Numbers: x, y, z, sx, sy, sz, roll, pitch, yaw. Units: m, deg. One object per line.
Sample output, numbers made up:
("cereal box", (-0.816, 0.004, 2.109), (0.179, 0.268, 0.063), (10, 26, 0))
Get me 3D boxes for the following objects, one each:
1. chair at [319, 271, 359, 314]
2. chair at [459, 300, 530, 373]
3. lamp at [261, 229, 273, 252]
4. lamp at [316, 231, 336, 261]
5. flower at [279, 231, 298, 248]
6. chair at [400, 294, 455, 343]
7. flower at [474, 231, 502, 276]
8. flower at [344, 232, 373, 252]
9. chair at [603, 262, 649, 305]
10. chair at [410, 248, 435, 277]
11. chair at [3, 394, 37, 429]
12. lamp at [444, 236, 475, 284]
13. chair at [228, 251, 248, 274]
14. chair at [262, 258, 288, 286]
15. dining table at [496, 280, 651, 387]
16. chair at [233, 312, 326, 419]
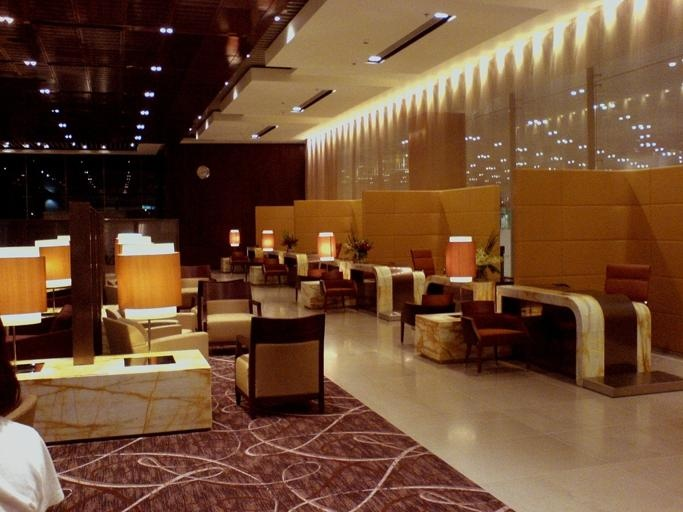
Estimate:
("chair", (-0.106, 0.853, 12.024), (0.756, 1.019, 0.853), (0, -2, -13))
("chair", (2.082, 1.148, 7.411), (0.848, 1.108, 0.924), (0, -2, -18))
("lamp", (-2.598, -0.511, 18.148), (0.339, 0.713, 0.637), (-2, 4, -16))
("lamp", (-0.436, -0.247, 13.348), (0.556, 0.972, 0.624), (-1, 1, 11))
("flower", (-1.802, -0.639, 17.621), (0.601, 0.706, 0.655), (-2, -8, 14))
("chair", (1.416, 1.000, 8.508), (0.576, 0.906, 0.756), (1, -1, -18))
("flower", (2.907, 0.022, 10.099), (0.450, 0.828, 2.799), (1, 4, 17))
("flower", (0.383, -0.418, 12.548), (0.628, 0.497, 0.626), (-1, -7, 33))
("chair", (4.334, 0.399, 7.869), (0.704, 0.743, 0.694), (-1, 1, 44))
("chair", (1.960, 0.167, 12.396), (0.526, 1.068, 0.583), (0, -3, -14))
("chair", (-1.780, 0.864, 2.887), (0.145, 0.221, 0.169), (6, -6, -27))
("lamp", (2.090, 0.066, 8.726), (0.596, 0.940, 0.641), (-1, 1, -1))
("chair", (-4.199, 0.246, 20.880), (0.803, 1.275, 1.087), (0, -8, -7))
("chair", (-2.154, 0.536, 16.620), (0.679, 0.987, 0.981), (1, -7, -10))
("dining table", (3.151, 1.036, 6.958), (1.670, 1.098, 1.028), (3, 5, 41))
("chair", (-0.834, 1.146, 5.831), (0.801, 1.266, 1.049), (0, 2, -17))
